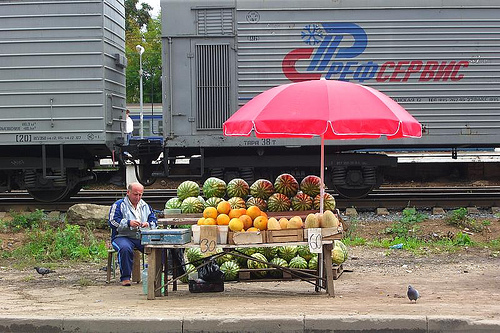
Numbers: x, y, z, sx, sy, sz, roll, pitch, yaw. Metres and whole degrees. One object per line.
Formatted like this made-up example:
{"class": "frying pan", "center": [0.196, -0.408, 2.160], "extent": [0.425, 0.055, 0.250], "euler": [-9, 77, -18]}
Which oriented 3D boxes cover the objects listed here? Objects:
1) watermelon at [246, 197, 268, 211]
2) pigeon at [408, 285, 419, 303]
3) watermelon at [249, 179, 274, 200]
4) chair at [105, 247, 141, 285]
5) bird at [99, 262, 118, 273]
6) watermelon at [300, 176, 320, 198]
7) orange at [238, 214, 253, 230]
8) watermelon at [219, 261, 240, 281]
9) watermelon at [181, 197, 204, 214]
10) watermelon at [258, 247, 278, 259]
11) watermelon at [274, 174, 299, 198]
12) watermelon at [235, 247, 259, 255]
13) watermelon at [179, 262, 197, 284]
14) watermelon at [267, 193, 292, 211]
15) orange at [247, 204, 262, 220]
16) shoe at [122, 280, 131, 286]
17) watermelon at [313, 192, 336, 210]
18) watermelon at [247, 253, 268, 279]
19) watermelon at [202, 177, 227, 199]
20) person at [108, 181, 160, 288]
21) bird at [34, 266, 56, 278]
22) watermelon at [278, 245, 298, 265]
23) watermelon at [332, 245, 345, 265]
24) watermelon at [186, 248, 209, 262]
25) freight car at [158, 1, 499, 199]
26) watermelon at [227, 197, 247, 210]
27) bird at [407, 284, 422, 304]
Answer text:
{"class": "watermelon", "center": [0.156, 0.845, 26.010], "extent": [0.332, 0.172, 0.341], "euler": [10, -1, 18]}
{"class": "pigeon", "center": [3.528, 2.786, 24.763], "extent": [0.168, 0.267, 0.319], "euler": [-7, -29, 19]}
{"class": "watermelon", "center": [0.264, 0.528, 26.210], "extent": [0.422, 0.486, 0.274], "euler": [-18, 19, 0]}
{"class": "chair", "center": [-2.946, 2.328, 26.479], "extent": [0.819, 0.703, 0.816], "euler": [1, -7, -8]}
{"class": "bird", "center": [-3.289, 2.401, 26.732], "extent": [0.259, 0.092, 0.285], "euler": [15, 21, 36]}
{"class": "watermelon", "center": [1.363, 0.430, 26.225], "extent": [0.466, 0.468, 0.550], "euler": [-4, 27, -1]}
{"class": "orange", "center": [-0.086, 1.225, 25.399], "extent": [0.287, 0.281, 0.338], "euler": [-33, 6, -9]}
{"class": "watermelon", "center": [-0.459, 2.370, 26.031], "extent": [0.366, 0.427, 0.259], "euler": [-40, 22, 13]}
{"class": "watermelon", "center": [-1.347, 0.873, 26.117], "extent": [0.409, 0.405, 0.383], "euler": [-3, 1, 2]}
{"class": "watermelon", "center": [0.422, 1.979, 26.109], "extent": [0.301, 0.197, 0.302], "euler": [-5, 2, -12]}
{"class": "watermelon", "center": [0.805, 0.414, 26.401], "extent": [0.627, 0.440, 0.782], "euler": [-8, -3, 2]}
{"class": "watermelon", "center": [-0.049, 1.947, 26.055], "extent": [0.334, 0.188, 0.289], "euler": [2, -5, -3]}
{"class": "watermelon", "center": [-1.423, 2.481, 26.129], "extent": [0.411, 0.487, 0.412], "euler": [2, 3, 7]}
{"class": "watermelon", "center": [0.660, 0.831, 25.964], "extent": [0.440, 0.368, 0.248], "euler": [21, -18, 6]}
{"class": "orange", "center": [0.097, 1.025, 25.444], "extent": [0.258, 0.307, 0.256], "euler": [-11, -16, -3]}
{"class": "shoe", "center": [-2.832, 2.683, 25.965], "extent": [0.142, 0.100, 0.108], "euler": [0, 0, 11]}
{"class": "watermelon", "center": [1.685, 0.830, 26.077], "extent": [0.415, 0.471, 0.394], "euler": [1, -7, -14]}
{"class": "watermelon", "center": [0.159, 2.292, 26.019], "extent": [0.471, 0.474, 0.202], "euler": [-1, 0, 0]}
{"class": "watermelon", "center": [-0.834, 0.492, 26.590], "extent": [0.526, 0.528, 0.691], "euler": [-1, 3, 16]}
{"class": "person", "center": [-2.707, 1.575, 26.001], "extent": [0.993, 1.838, 0.456], "euler": [-1, 0, -8]}
{"class": "bird", "center": [-4.863, 2.523, 26.871], "extent": [0.521, 0.268, 0.173], "euler": [5, 2, -2]}
{"class": "watermelon", "center": [0.864, 2.006, 26.245], "extent": [0.374, 0.446, 0.263], "euler": [-1, 17, 1]}
{"class": "watermelon", "center": [2.022, 2.059, 26.315], "extent": [0.394, 0.373, 0.171], "euler": [0, 0, -40]}
{"class": "watermelon", "center": [-1.230, 2.058, 26.118], "extent": [0.460, 0.294, 0.325], "euler": [0, -8, 0]}
{"class": "freight car", "center": [1.854, -1.976, 29.768], "extent": [9.096, 4.152, 2.807], "euler": [-1, -8, 12]}
{"class": "watermelon", "center": [-0.293, 0.858, 25.974], "extent": [0.289, 0.282, 0.287], "euler": [-23, -25, -25]}
{"class": "bird", "center": [3.572, 2.828, 24.892], "extent": [0.210, 0.291, 0.367], "euler": [-8, -30, 25]}
